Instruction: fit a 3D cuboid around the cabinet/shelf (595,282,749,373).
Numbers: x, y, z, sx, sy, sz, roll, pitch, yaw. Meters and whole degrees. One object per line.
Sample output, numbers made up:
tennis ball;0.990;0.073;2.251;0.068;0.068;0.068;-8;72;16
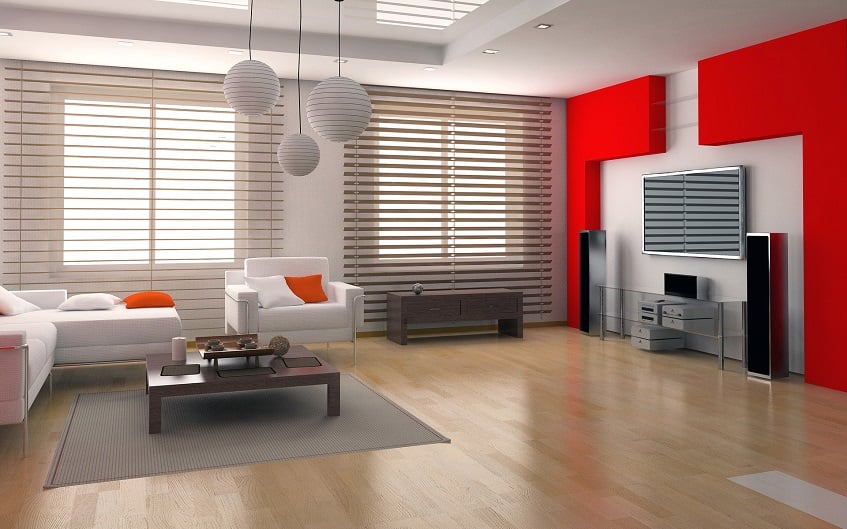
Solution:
cabinet/shelf;3.173;0.726;7.057;0.577;0.821;2.157;-4;9;-26

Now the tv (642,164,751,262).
tv;3.440;-0.646;6.990;0.150;0.940;1.449;0;0;-27

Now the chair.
chair;-1.624;0.550;7.021;1.963;1.375;1.301;-1;-1;-25

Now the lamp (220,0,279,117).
lamp;-1.465;-1.529;4.748;0.431;0.457;0.232;-2;9;-17

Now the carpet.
carpet;-1.611;1.350;4.858;2.945;0.045;1.737;-2;8;-14
